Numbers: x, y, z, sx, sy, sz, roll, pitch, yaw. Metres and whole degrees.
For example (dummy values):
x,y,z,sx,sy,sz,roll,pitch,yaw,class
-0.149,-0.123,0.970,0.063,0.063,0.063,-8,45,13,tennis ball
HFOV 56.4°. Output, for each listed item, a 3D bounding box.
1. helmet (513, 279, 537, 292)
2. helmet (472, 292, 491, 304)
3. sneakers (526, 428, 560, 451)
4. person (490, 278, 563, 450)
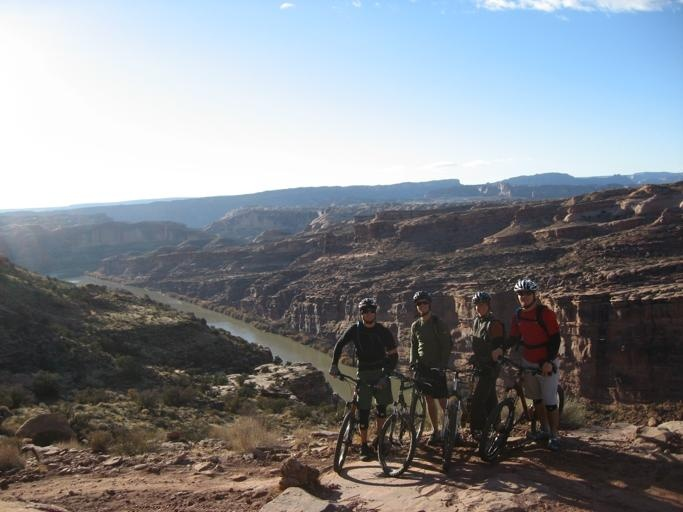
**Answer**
x,y,z,sx,sy,sz,roll,pitch,yaw,class
3.757,0.612,12.854,0.354,0.230,0.509,-2,-4,23,helmet
2.919,0.869,13.225,0.239,0.282,0.313,0,-8,33,helmet
4.019,3.599,12.717,0.262,0.300,0.684,-9,16,-30,sneakers
3.888,2.101,12.746,0.992,3.289,0.761,-4,4,17,person
